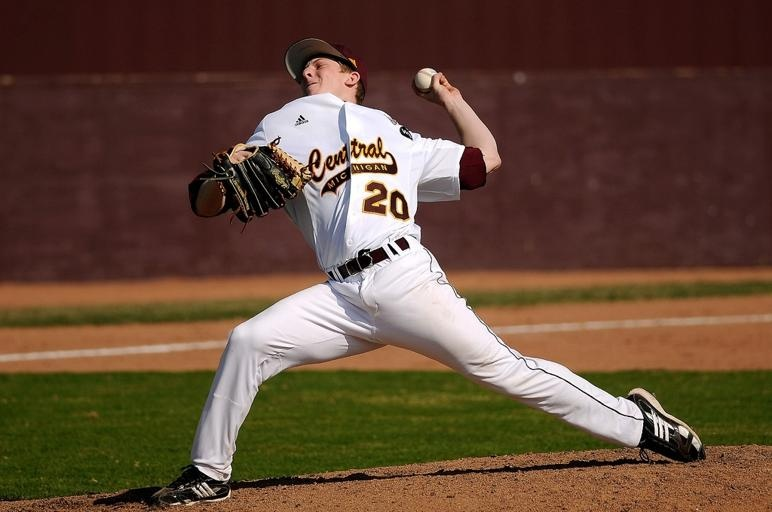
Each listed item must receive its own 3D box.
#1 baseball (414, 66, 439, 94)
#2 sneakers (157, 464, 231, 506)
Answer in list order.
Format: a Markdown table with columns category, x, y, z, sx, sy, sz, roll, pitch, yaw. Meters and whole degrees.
| category | x | y | z | sx | sy | sz | roll | pitch | yaw |
| --- | --- | --- | --- | --- | --- | --- | --- | --- | --- |
| baseball | 0.367 | -1.632 | 11.062 | 0.188 | 0.239 | 0.230 | 6 | -11 | 0 |
| sneakers | -1.725 | 2.029 | 10.760 | 0.633 | 0.306 | 0.284 | 1 | -4 | -8 |
